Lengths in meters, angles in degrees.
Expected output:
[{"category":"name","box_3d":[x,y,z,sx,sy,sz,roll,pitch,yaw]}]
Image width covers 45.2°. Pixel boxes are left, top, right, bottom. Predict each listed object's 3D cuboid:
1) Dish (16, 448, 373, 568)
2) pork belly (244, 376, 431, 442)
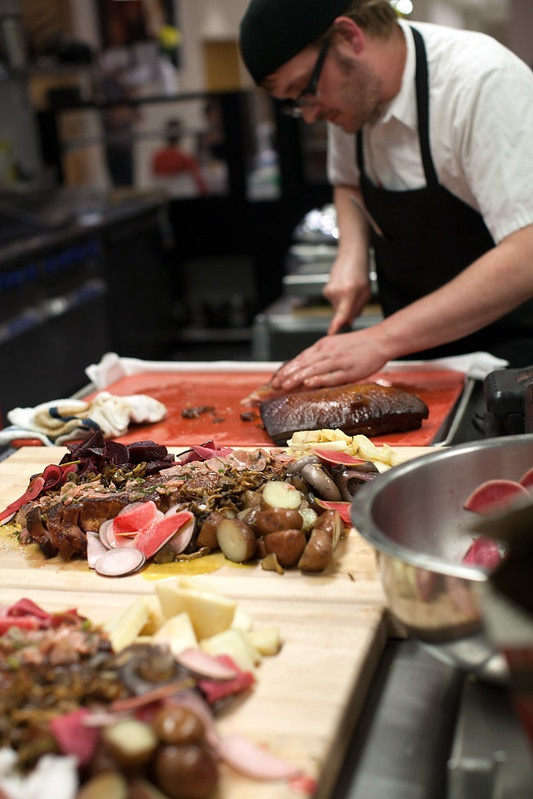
[{"category":"Dish","box_3d":[-0.122,0.159,0.997,0.383,0.084,0.248,1,16,7]},{"category":"pork belly","box_3d":[0.163,0.014,1.541,0.407,0.110,0.392,-4,14,3]}]
